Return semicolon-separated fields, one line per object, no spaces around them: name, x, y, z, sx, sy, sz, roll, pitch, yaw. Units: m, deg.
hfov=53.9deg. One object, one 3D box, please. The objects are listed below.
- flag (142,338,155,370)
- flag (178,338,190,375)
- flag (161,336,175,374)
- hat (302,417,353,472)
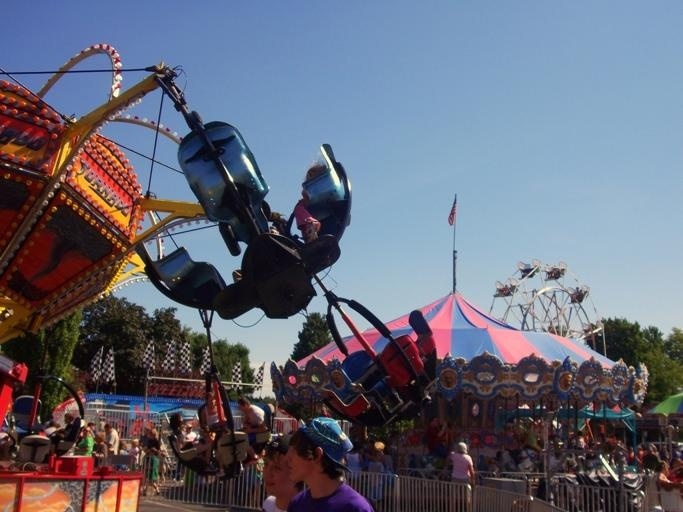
flag;-9.231;4.829;32.157;0.471;1.513;1.200;8;-24;-16
flag;-8.684;5.656;37.270;0.492;1.876;1.738;7;-24;-15
flag;-8.987;5.166;35.114;0.550;1.540;3.138;7;-24;-14
hat;-0.163;1.774;6.625;0.694;0.299;0.534;30;-9;-2
